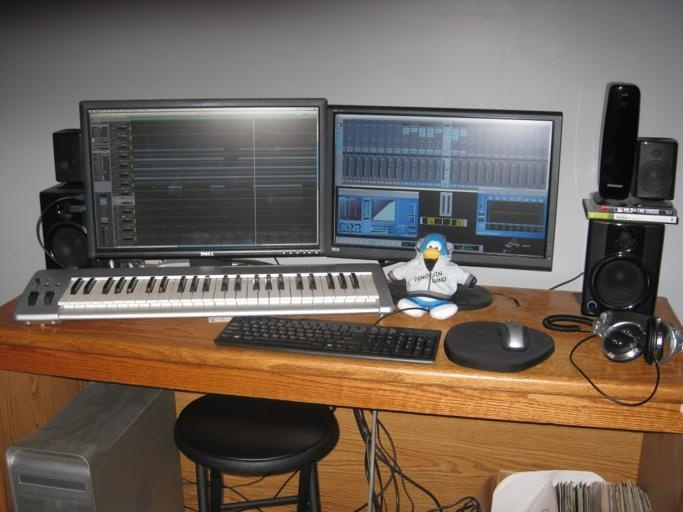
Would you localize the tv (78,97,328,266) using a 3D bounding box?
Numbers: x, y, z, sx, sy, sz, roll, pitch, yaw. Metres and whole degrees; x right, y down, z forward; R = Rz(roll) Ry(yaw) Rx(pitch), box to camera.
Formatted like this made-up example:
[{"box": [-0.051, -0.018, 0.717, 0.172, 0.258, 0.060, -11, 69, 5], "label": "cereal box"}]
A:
[{"box": [-0.444, -0.255, 1.808, 0.691, 0.378, 0.029, -1, 14, 0], "label": "tv"}]

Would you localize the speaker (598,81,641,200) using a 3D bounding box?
[{"box": [0.840, -0.342, 1.693, 0.097, 0.350, 0.030, 1, 15, 18], "label": "speaker"}]

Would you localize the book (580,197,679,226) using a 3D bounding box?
[{"box": [0.884, -0.142, 1.727, 0.245, 0.075, 0.153, 0, 13, 13], "label": "book"}]

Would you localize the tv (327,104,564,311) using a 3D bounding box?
[{"box": [0.317, -0.166, 1.785, 0.794, 0.540, 0.168, 2, 16, 10], "label": "tv"}]

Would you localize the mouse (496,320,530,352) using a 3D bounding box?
[{"box": [0.459, 0.212, 1.486, 0.070, 0.062, 0.062, 0, 13, 14], "label": "mouse"}]
